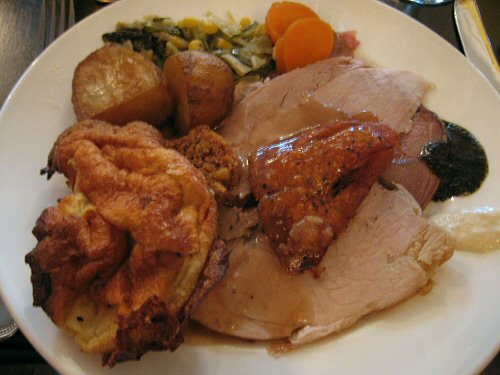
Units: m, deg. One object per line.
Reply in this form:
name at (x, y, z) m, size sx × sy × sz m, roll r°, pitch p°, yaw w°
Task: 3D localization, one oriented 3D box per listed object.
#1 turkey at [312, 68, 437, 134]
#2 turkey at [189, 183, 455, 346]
turkey at (0.690, -0.658, 3.785) m, size 0.864 × 0.362 × 0.738 m, roll -12°, pitch 31°, yaw -17°
turkey at (0.428, 0.470, 3.238) m, size 1.413 × 0.543 × 0.638 m, roll -10°, pitch 57°, yaw -18°
